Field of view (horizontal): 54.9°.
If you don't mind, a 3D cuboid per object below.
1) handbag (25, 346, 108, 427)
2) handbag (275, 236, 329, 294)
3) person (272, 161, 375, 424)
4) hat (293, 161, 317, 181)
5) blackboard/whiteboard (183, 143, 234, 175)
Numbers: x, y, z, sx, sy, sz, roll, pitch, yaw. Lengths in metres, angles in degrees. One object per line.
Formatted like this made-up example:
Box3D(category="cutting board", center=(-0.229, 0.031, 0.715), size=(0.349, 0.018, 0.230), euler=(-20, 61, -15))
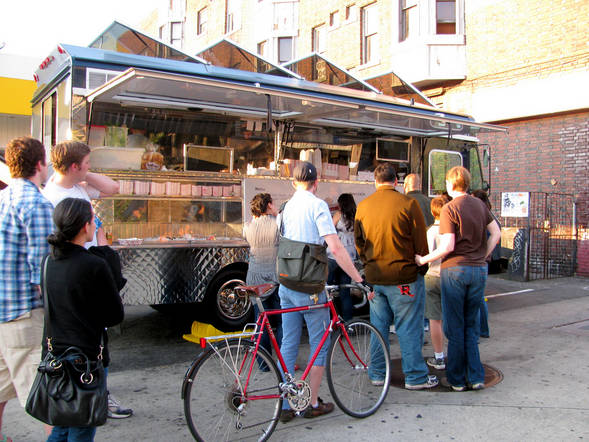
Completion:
Box3D(category="handbag", center=(-1.524, 1.127, 3.878), size=(0.504, 0.522, 0.261), euler=(10, 15, -12))
Box3D(category="handbag", center=(0.074, 0.403, 5.213), size=(0.380, 0.540, 0.513), euler=(7, -3, -35))
Box3D(category="person", center=(0.240, 0.636, 5.329), size=(0.736, 2.407, 0.751), euler=(2, 2, 34))
Box3D(category="hat", center=(0.124, -0.486, 5.305), size=(0.148, 0.134, 0.205), euler=(4, 21, 13))
Box3D(category="blackboard/whiteboard", center=(-1.262, -0.927, 8.490), size=(0.738, 0.440, 0.109), euler=(2, 18, -14))
